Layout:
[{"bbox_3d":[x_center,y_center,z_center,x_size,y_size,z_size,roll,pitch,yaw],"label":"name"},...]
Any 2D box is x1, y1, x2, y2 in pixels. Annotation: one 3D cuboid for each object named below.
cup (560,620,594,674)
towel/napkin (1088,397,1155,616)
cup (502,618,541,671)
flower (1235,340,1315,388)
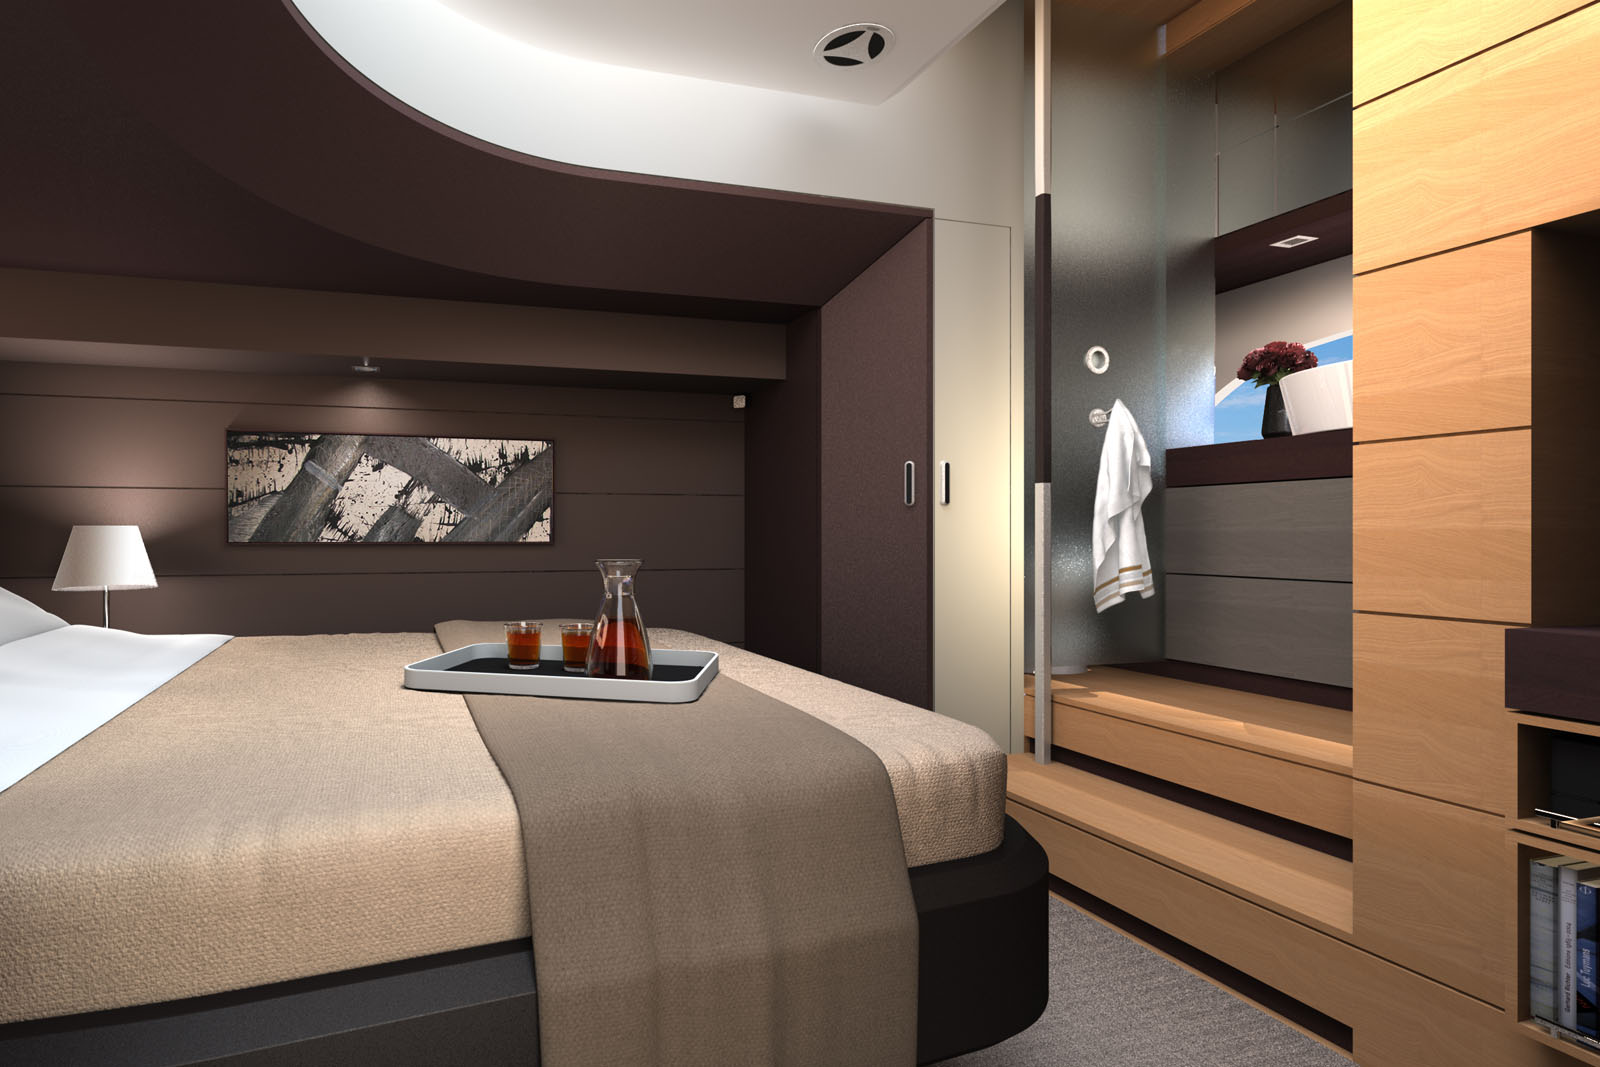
[{"bbox_3d":[-0.623,0.319,2.922,0.095,0.138,0.142,0,1,-27],"label":"cup"},{"bbox_3d":[1.418,-0.087,4.577,0.271,0.945,0.378,6,14,15],"label":"towel/napkin"},{"bbox_3d":[-0.780,0.319,2.976,0.126,0.121,0.096,0,1,-12],"label":"cup"},{"bbox_3d":[2.105,-0.745,4.635,0.240,0.116,0.244,-1,9,30],"label":"flower"}]
